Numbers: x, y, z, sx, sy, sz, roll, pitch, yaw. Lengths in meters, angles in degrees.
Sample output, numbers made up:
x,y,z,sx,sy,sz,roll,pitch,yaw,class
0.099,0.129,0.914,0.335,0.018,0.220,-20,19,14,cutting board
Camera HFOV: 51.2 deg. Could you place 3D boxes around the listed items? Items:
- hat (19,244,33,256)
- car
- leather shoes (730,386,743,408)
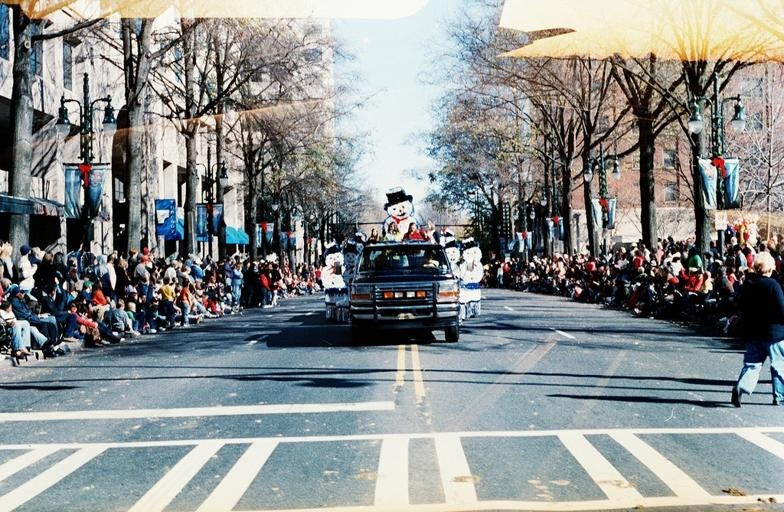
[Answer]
x,y,z,sx,sy,sz,roll,pitch,yaw,class
-10.624,-0.192,23.636,0.211,0.222,0.283,17,27,-2,hat
0.345,0.714,22.585,2.817,2.433,5.405,-2,4,-1,car
5.847,2.280,13.793,0.177,0.512,0.198,-4,-8,17,leather shoes
